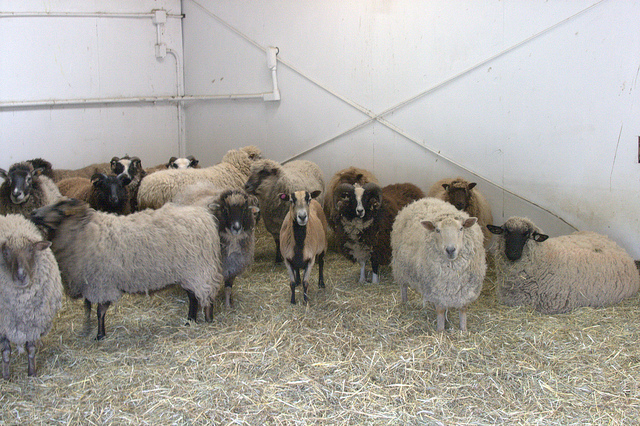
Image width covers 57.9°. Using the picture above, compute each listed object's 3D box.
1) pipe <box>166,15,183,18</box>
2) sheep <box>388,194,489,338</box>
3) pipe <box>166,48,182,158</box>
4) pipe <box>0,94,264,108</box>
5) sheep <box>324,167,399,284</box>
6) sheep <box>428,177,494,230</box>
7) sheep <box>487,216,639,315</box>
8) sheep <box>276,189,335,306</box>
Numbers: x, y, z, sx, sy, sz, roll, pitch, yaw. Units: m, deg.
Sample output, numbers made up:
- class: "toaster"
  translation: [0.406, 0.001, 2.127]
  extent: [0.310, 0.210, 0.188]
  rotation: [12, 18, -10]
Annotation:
- class: "pipe"
  translation: [-3.046, -4.157, 12.205]
  extent: [0.306, 0.050, 0.066]
  rotation: [-3, 13, -12]
- class: "sheep"
  translation: [1.651, 0.742, 8.057]
  extent: [1.009, 1.787, 2.175]
  rotation: [-3, 9, -6]
- class: "pipe"
  translation: [-3.478, -2.696, 13.758]
  extent: [0.112, 0.643, 3.472]
  rotation: [-21, -22, -24]
- class: "pipe"
  translation: [-3.828, -2.264, 11.644]
  extent: [6.018, 0.236, 0.258]
  rotation: [-3, 4, -23]
- class: "sheep"
  translation: [0.744, 0.283, 9.290]
  extent: [0.994, 1.854, 2.271]
  rotation: [0, 9, 9]
- class: "sheep"
  translation: [2.294, -0.183, 9.049]
  extent: [0.604, 0.703, 1.125]
  rotation: [-3, 2, 8]
- class: "sheep"
  translation: [3.552, 0.672, 8.538]
  extent: [1.845, 1.325, 1.233]
  rotation: [-6, -1, 7]
- class: "sheep"
  translation: [-0.210, 0.341, 8.660]
  extent: [0.630, 1.586, 1.527]
  rotation: [0, 13, 5]
